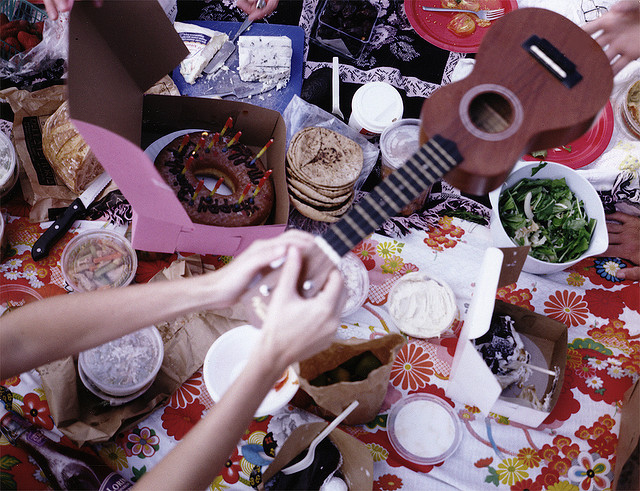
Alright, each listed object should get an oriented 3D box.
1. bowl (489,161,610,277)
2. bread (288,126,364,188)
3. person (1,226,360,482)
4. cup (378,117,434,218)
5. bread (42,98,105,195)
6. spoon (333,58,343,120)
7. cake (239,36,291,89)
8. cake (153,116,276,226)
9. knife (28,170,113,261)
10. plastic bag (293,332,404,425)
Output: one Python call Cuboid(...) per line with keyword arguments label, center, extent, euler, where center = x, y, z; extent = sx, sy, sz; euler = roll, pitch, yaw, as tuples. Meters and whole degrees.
Cuboid(label="bowl", center=(1.058, -0.157, 2.212), extent=(0.462, 0.158, 0.438), euler=(0, 81, -2))
Cuboid(label="bread", center=(0.017, -0.416, 2.280), extent=(0.361, 0.286, 0.358), euler=(-10, 43, -11))
Cuboid(label="person", center=(-0.364, 0.358, 1.773), extent=(1.149, 0.868, 0.774), euler=(-14, 81, -4))
Cuboid(label="cup", center=(0.342, -0.338, 1.967), extent=(0.259, 0.397, 0.289), euler=(8, 68, 4))
Cuboid(label="bread", center=(-1.159, -0.499, 2.293), extent=(0.387, 0.117, 0.452), euler=(11, 48, -42))
Cuboid(label="spoon", center=(0.087, -0.812, 2.411), extent=(0.045, 0.063, 0.250), euler=(-2, 87, 2))
Cuboid(label="cake", center=(-0.272, -0.932, 2.423), extent=(0.222, 0.245, 0.161), euler=(1, 22, -1))
Cuboid(label="cake", center=(-0.463, -0.303, 2.204), extent=(0.489, 0.330, 0.546), euler=(1, 69, -21))
Cuboid(label="knife", center=(-1.159, -0.128, 2.222), extent=(0.058, 0.037, 0.498), euler=(35, 74, 0))
Cuboid(label="plastic bag", center=(0.087, 0.517, 1.877), extent=(0.411, 0.470, 0.262), euler=(4, 35, 13))
